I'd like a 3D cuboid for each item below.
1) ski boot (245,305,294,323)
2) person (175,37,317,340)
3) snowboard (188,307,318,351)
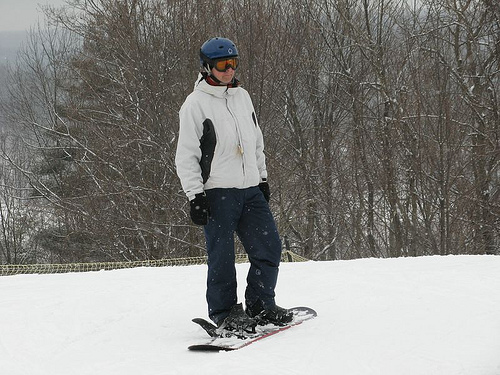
[{"bbox_3d":[0.212,1.374,6.612,0.486,0.299,0.197,-3,1,-1],"label":"ski boot"},{"bbox_3d":[-0.224,0.005,6.520,1.131,3.196,1.030,-5,12,-8],"label":"person"},{"bbox_3d":[0.069,1.558,6.421,1.507,0.133,0.339,-11,16,-25],"label":"snowboard"}]
